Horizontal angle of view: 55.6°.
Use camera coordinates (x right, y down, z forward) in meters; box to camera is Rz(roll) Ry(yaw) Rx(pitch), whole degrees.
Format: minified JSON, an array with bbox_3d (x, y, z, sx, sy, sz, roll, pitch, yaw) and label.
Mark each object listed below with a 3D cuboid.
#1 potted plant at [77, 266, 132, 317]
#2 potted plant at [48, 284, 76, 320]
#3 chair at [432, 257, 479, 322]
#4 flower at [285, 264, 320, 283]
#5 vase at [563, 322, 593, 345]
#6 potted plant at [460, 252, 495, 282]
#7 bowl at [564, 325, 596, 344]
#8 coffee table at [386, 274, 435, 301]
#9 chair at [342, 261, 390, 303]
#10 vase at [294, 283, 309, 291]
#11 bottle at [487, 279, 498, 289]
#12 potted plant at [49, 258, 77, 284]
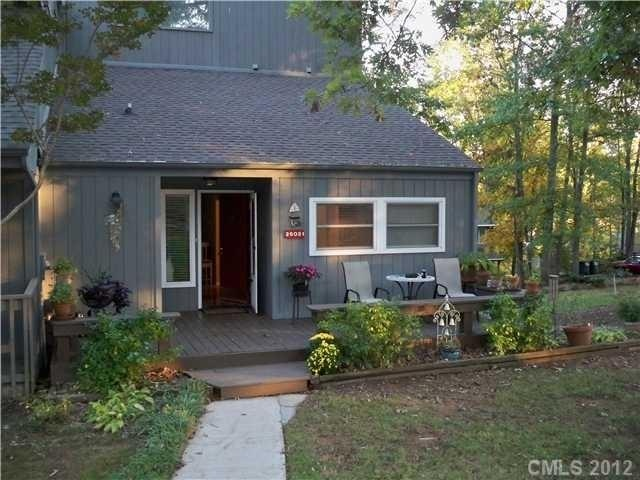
[{"bbox_3d":[-3.822,0.964,10.800,0.919,0.725,0.912,-2,-4,38],"label":"potted plant"},{"bbox_3d":[-4.399,1.050,10.335,0.440,0.594,0.311,5,14,14],"label":"potted plant"},{"bbox_3d":[2.869,0.913,13.318,0.748,0.877,1.271,3,14,5],"label":"chair"},{"bbox_3d":[-0.362,0.733,12.813,0.708,0.433,0.510,1,14,-3],"label":"flower"},{"bbox_3d":[4.831,1.768,11.425,0.401,0.310,0.397,3,-4,-43],"label":"vase"},{"bbox_3d":[3.517,0.618,13.714,0.588,0.454,0.608,2,-4,-13],"label":"potted plant"},{"bbox_3d":[4.835,1.766,11.390,0.394,0.306,0.394,0,-3,0],"label":"bowl"},{"bbox_3d":[1.958,0.993,13.282,0.696,0.530,0.719,0,3,-13],"label":"coffee table"},{"bbox_3d":[1.061,0.849,12.900,0.737,1.379,0.952,-1,-4,-25],"label":"chair"},{"bbox_3d":[-0.402,0.989,12.660,0.190,0.133,0.186,3,-3,7],"label":"vase"},{"bbox_3d":[3.838,0.973,13.435,0.147,0.154,0.201,-5,-11,45],"label":"bottle"},{"bbox_3d":[-4.765,0.572,11.226,0.534,0.574,0.477,3,-5,-23],"label":"potted plant"}]
